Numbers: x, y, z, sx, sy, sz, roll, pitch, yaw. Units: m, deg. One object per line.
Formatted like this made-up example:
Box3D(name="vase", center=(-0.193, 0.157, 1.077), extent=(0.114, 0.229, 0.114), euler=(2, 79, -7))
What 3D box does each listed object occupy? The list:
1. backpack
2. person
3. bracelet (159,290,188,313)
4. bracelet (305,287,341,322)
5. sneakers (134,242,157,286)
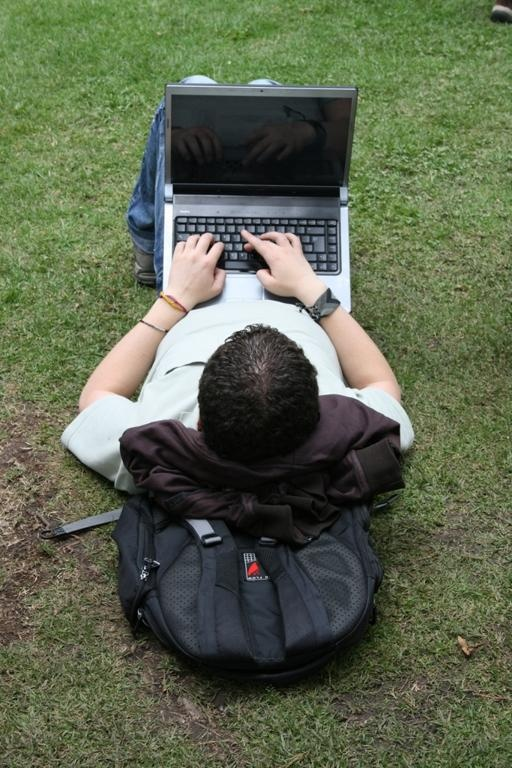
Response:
Box3D(name="backpack", center=(0.009, 0.460, 1.791), extent=(0.671, 0.234, 0.680), euler=(2, 23, 11))
Box3D(name="person", center=(-0.002, -0.261, 2.074), extent=(0.956, 0.897, 1.255), euler=(7, 37, 13))
Box3D(name="bracelet", center=(-0.254, -0.248, 2.221), extent=(0.069, 0.026, 0.056), euler=(34, 2, 9))
Box3D(name="bracelet", center=(0.204, -0.235, 2.209), extent=(0.044, 0.101, 0.078), euler=(6, 37, -51))
Box3D(name="sneakers", center=(-0.440, -0.468, 2.878), extent=(0.064, 0.127, 0.172), euler=(-2, 47, -6))
